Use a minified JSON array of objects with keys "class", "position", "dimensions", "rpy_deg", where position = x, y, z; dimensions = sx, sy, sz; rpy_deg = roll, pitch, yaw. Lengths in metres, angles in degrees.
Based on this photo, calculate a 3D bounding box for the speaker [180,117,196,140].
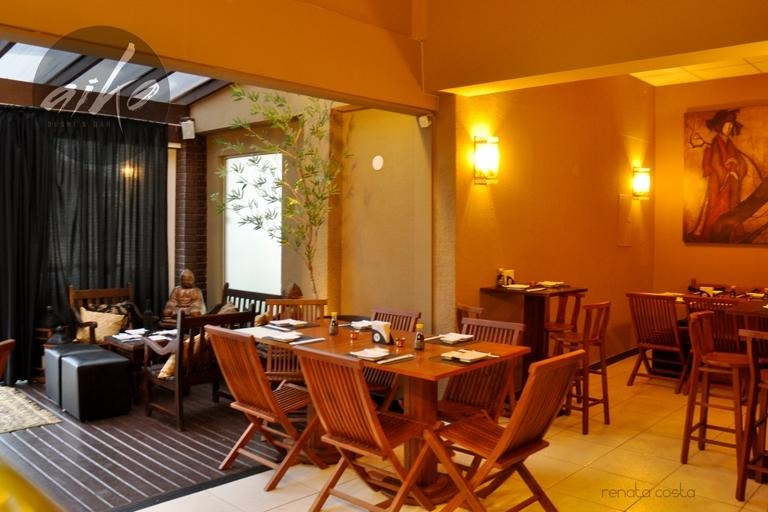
[{"class":"speaker","position":[-3.093,-1.998,8.336],"dimensions":[0.287,0.349,0.148],"rpy_deg":[6,11,35]}]

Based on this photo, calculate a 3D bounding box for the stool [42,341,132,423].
[{"class":"stool","position":[-3.385,1.177,6.030],"dimensions":[0.734,0.769,1.312],"rpy_deg":[-5,9,-39]}]

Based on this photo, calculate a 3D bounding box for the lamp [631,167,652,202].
[{"class":"lamp","position":[4.002,-1.122,8.257],"dimensions":[0.137,0.515,0.499],"rpy_deg":[8,12,43]}]

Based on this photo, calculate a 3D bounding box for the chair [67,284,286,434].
[{"class":"chair","position":[-2.564,1.200,6.457],"dimensions":[1.272,1.274,2.402],"rpy_deg":[1,-1,-44]}]

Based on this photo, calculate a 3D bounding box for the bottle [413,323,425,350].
[{"class":"bottle","position":[0.296,0.677,4.492],"dimensions":[0.098,0.189,0.265],"rpy_deg":[0,8,3]}]

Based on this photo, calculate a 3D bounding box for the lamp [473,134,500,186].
[{"class":"lamp","position":[1.185,-1.073,5.997],"dimensions":[0.188,0.543,0.452],"rpy_deg":[8,12,41]}]

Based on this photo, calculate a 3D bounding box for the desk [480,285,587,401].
[{"class":"desk","position":[1.507,0.939,6.311],"dimensions":[1.331,1.112,1.334],"rpy_deg":[4,6,43]}]
